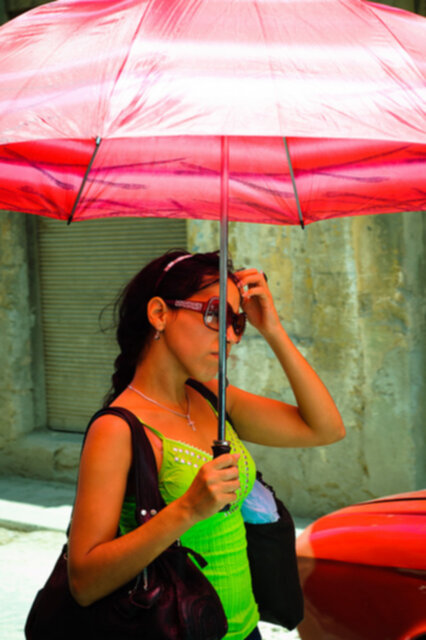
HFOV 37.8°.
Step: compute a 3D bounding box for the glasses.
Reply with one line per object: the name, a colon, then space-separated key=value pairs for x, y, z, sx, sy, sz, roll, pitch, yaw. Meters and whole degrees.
glasses: x=-0.029 y=0.001 z=1.714 sx=0.149 sy=0.135 sz=0.047 roll=7 pitch=83 yaw=25
